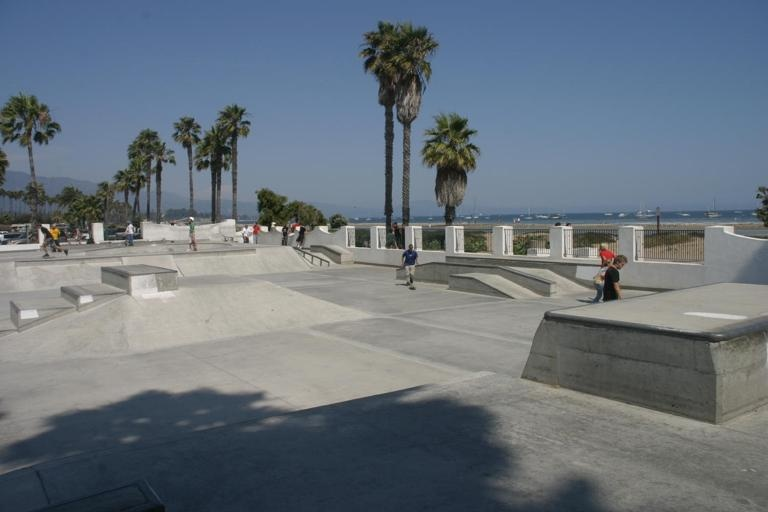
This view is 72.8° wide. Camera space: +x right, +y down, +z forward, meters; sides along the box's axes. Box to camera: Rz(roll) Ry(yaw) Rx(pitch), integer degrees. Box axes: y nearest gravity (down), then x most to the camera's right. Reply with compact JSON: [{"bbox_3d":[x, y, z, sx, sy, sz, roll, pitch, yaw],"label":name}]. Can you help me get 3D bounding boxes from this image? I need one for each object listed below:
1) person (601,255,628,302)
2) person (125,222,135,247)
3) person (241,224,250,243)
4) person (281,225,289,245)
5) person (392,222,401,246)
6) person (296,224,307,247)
[{"bbox_3d":[5.623,0.579,12.792,0.504,1.071,1.746,-1,4,24],"label":"person"},{"bbox_3d":[-17.801,-1.422,36.263,0.459,1.409,1.413,-5,5,-31],"label":"person"},{"bbox_3d":[-10.988,-1.711,41.329,0.512,1.304,2.040,-3,4,-13],"label":"person"},{"bbox_3d":[-7.019,-1.468,36.879,0.476,1.381,2.183,-3,4,-11],"label":"person"},{"bbox_3d":[0.697,-1.117,28.974,0.553,1.331,0.957,-3,4,-2],"label":"person"},{"bbox_3d":[-5.724,-1.306,35.442,0.663,1.536,2.091,-3,4,-9],"label":"person"}]
